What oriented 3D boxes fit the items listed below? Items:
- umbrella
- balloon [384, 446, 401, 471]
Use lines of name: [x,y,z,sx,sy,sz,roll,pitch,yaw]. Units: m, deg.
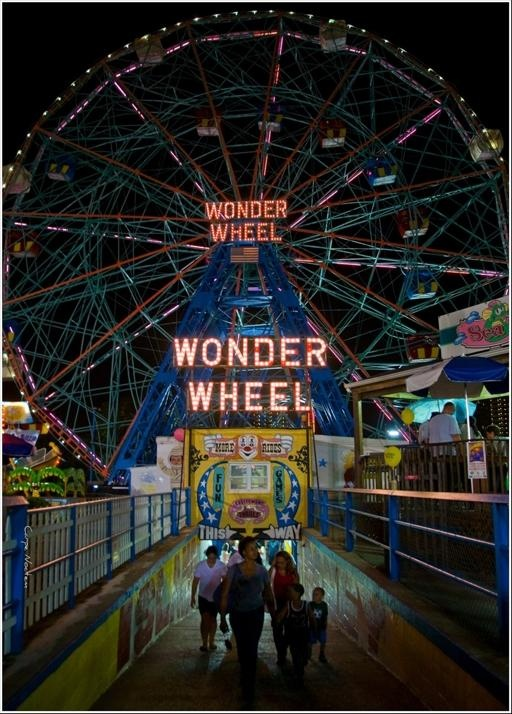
umbrella: [3.469,0.389,8.511,1.610,1.204,1.595,0,-18,5]
balloon: [2.083,1.512,7.531,0.153,0.284,0.448,1,-11,-11]
